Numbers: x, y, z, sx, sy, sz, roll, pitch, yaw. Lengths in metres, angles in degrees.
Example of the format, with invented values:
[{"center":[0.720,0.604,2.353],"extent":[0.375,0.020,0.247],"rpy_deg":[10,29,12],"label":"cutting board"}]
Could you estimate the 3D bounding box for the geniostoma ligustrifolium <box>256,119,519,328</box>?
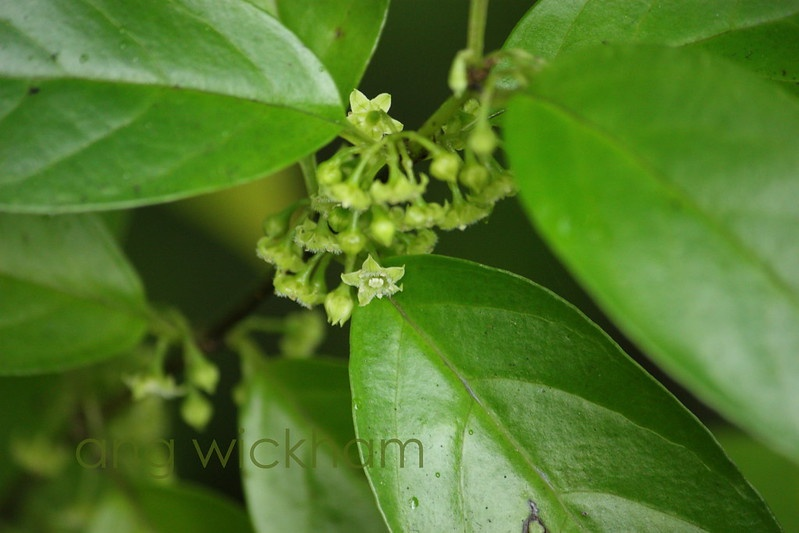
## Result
[{"center":[-0.031,-0.169,1.857],"extent":[0.593,0.269,0.383],"rpy_deg":[-30,-63,35],"label":"geniostoma ligustrifolium"}]
